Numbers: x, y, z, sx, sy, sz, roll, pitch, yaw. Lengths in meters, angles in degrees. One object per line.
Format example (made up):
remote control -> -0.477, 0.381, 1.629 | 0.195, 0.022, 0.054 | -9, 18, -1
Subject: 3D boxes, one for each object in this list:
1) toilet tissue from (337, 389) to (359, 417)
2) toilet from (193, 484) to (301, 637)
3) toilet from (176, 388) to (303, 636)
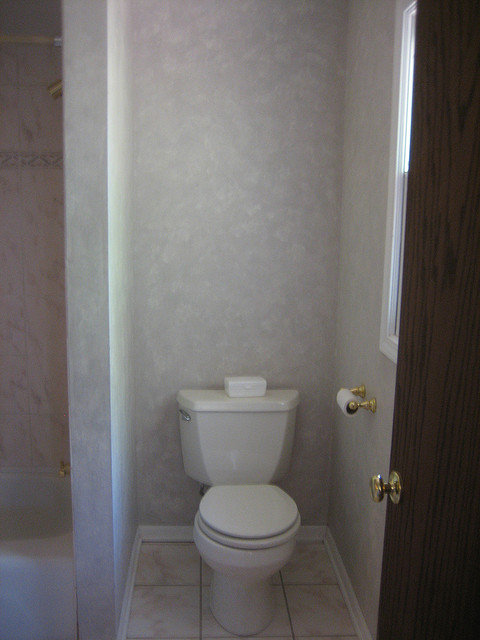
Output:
toilet tissue -> 0.336, 0.250, 1.764 | 0.056, 0.087, 0.077 | 9, -2, 8
toilet -> 0.005, 0.798, 1.928 | 0.233, 0.494, 0.450 | 1, 7, -6
toilet -> 0.005, 0.632, 1.947 | 0.376, 0.793, 0.670 | 1, -2, -1
